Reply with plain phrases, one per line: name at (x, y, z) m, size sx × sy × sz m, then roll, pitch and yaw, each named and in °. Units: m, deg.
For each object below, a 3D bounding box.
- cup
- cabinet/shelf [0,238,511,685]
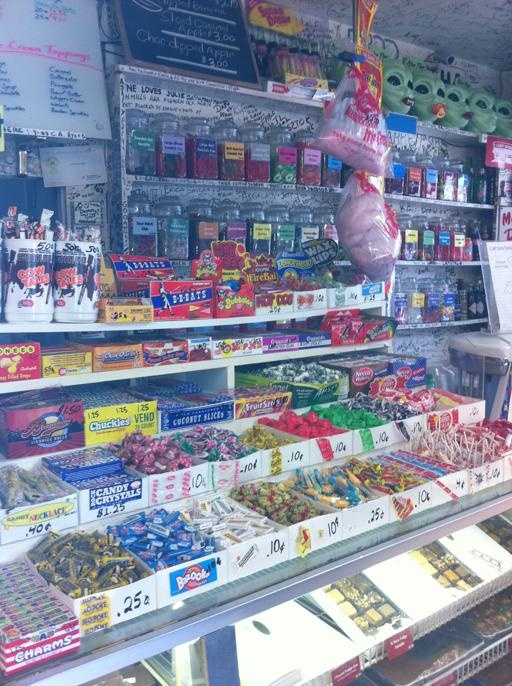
cup at (-0.526, -0.164, 1.579) m, size 0.249 × 0.197 × 0.227 m, roll 0°, pitch 5°, yaw 0°
cabinet/shelf at (-0.014, 0.385, 1.576) m, size 1.473 × 0.264 × 0.575 m, roll -7°, pitch 8°, yaw -41°
